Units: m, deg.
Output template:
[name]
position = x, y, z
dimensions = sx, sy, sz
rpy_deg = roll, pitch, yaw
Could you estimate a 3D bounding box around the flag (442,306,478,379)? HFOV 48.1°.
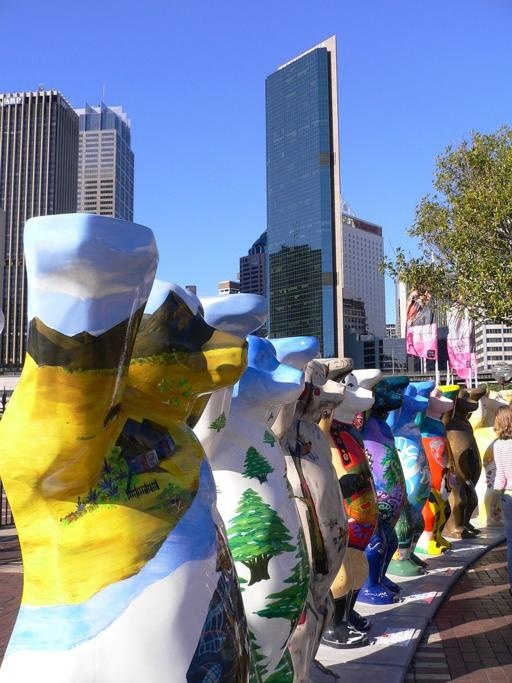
[flag]
position = 7.967, -0.077, 22.151
dimensions = 0.903, 0.297, 3.042
rpy_deg = 5, -38, 27
